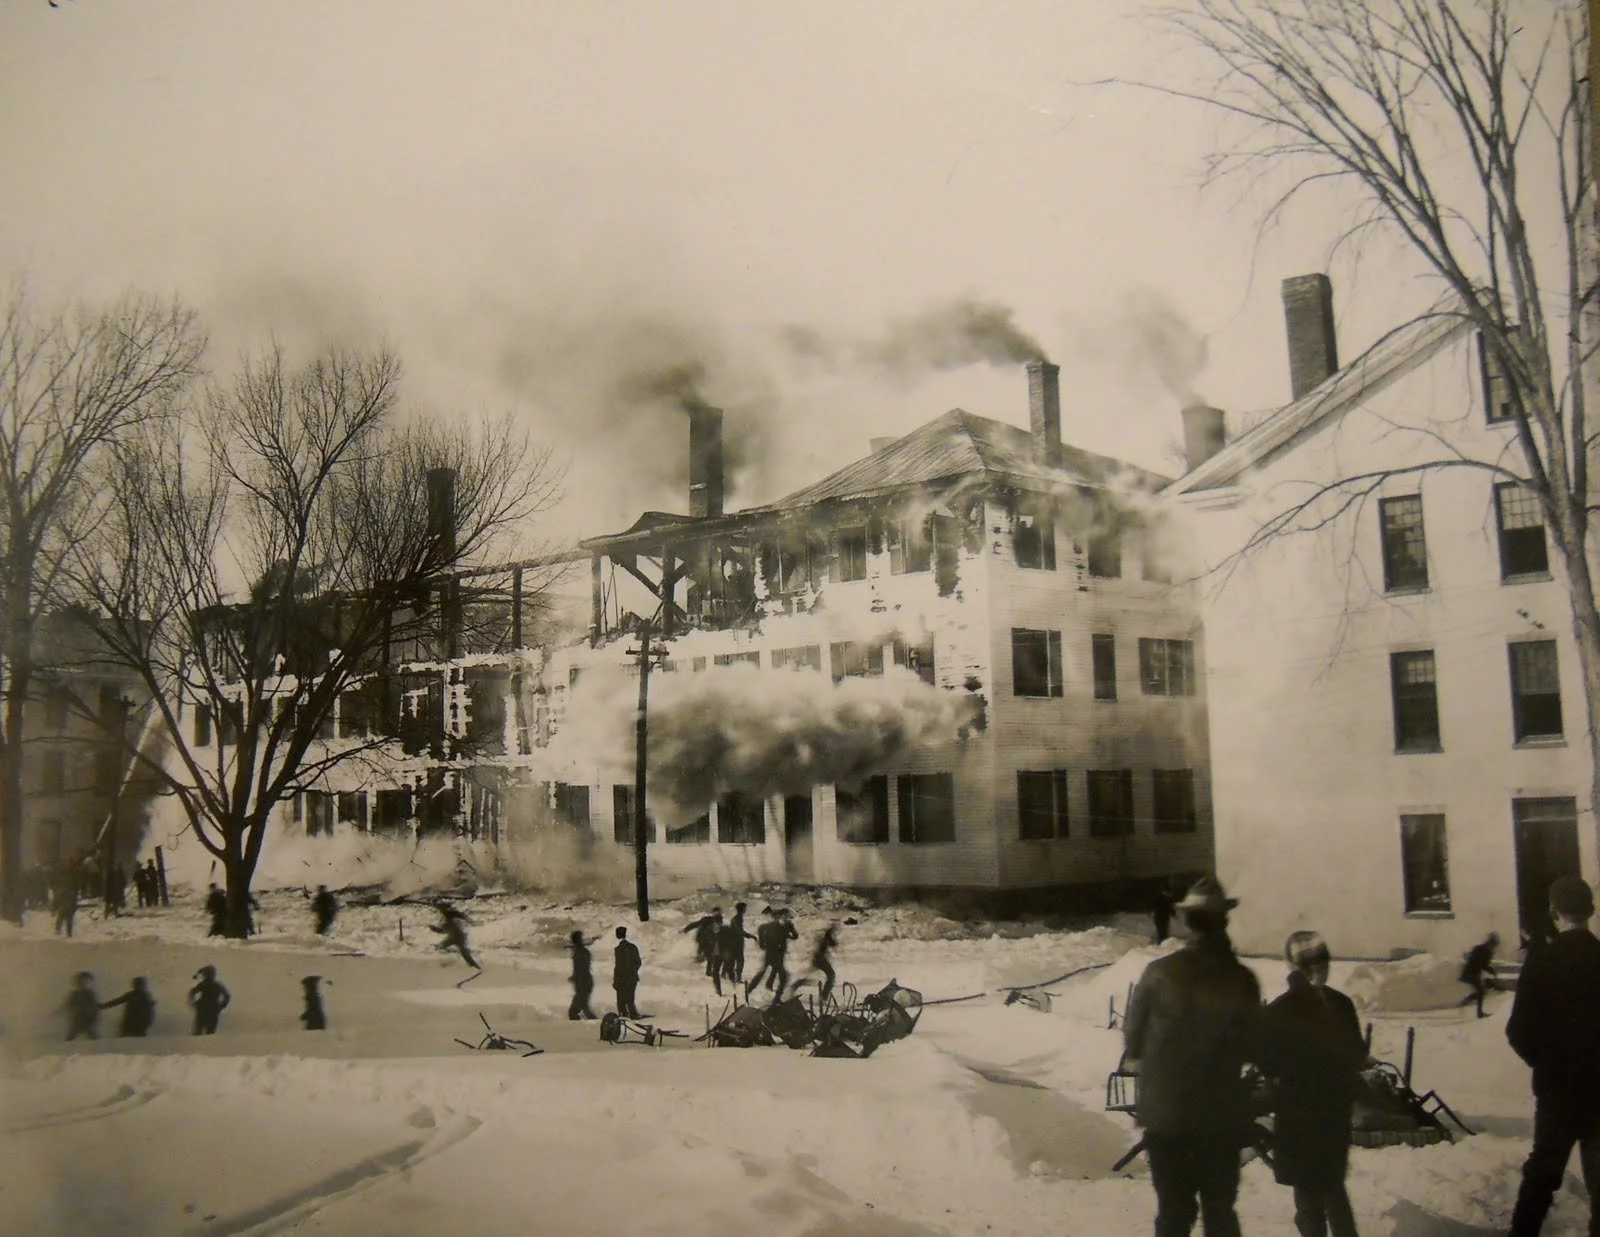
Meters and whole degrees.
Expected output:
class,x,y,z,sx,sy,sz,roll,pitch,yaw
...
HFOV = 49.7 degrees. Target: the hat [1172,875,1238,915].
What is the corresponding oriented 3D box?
class,x,y,z,sx,sy,sz,roll,pitch,yaw
hat,2.684,1.847,11.445,0.450,0.195,0.536,-13,-13,5
